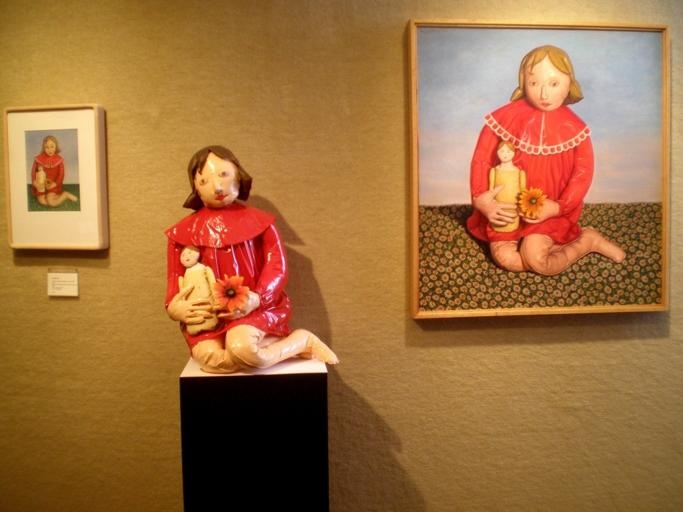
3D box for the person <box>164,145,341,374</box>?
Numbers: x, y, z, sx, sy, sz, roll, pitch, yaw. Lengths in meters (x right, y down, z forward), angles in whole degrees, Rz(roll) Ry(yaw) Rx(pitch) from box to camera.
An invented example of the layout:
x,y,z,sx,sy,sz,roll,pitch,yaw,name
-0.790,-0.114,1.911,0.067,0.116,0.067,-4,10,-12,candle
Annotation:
x,y,z,sx,sy,sz,roll,pitch,yaw,name
-0.418,0.001,2.404,0.637,0.899,0.329,2,5,26,person
